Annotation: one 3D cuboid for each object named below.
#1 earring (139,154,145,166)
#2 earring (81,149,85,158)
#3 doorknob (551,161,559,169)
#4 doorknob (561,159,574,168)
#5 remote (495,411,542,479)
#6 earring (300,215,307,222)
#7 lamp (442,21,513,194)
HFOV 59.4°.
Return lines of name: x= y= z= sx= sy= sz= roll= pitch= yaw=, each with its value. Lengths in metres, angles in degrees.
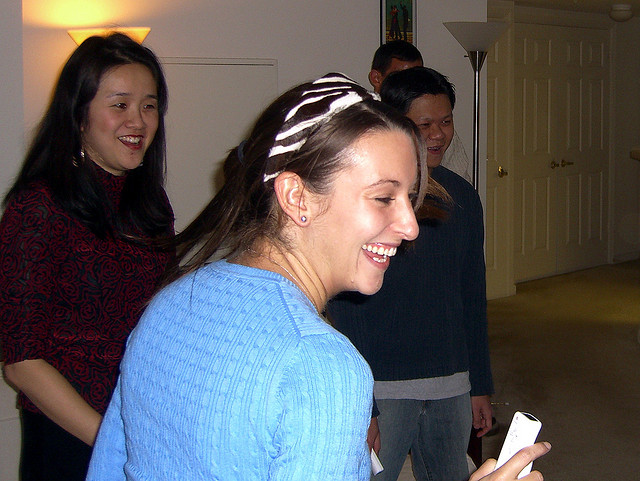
earring: x=-0.595 y=-0.267 z=1.876 sx=0.013 sy=0.035 sz=0.053 roll=-2 pitch=12 yaw=-12
earring: x=-0.704 y=-0.256 z=1.666 sx=0.003 sy=0.013 sz=0.012 roll=-12 pitch=12 yaw=6
doorknob: x=2.745 y=-0.878 z=6.556 sx=0.140 sy=0.088 sz=0.025 roll=-10 pitch=14 yaw=-39
doorknob: x=2.930 y=-0.906 z=6.652 sx=0.144 sy=0.092 sz=0.085 roll=-4 pitch=7 yaw=-29
remote: x=0.386 y=0.397 z=1.101 sx=0.076 sy=0.116 sz=0.076 roll=6 pitch=12 yaw=30
earring: x=-0.028 y=-0.037 z=0.944 sx=0.009 sy=0.010 sz=0.005 roll=7 pitch=-1 yaw=-2
lamp: x=1.149 y=-0.641 z=4.172 sx=0.494 sy=1.827 sz=0.533 roll=7 pitch=13 yaw=40
